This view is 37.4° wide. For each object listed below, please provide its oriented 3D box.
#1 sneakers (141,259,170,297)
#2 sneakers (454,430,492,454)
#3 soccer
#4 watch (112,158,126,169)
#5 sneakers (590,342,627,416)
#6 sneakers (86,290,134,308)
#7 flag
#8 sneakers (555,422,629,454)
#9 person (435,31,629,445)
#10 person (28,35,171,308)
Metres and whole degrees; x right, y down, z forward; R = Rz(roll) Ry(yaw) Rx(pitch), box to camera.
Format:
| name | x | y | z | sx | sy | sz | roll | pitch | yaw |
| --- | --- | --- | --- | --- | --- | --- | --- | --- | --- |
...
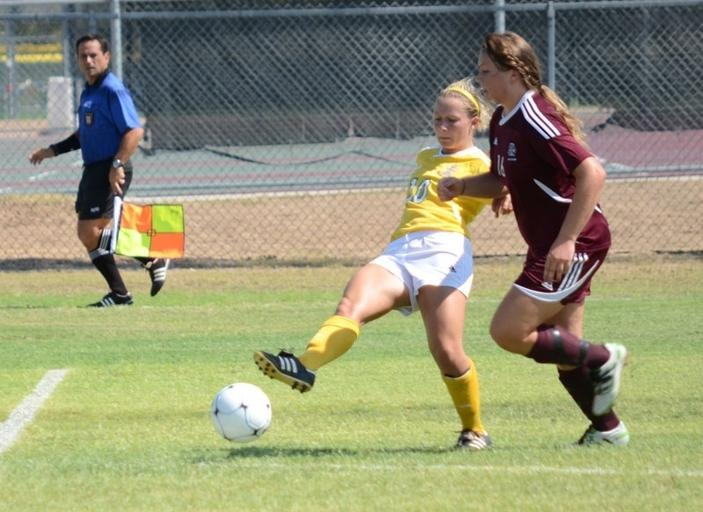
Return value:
| name | x | y | z | sx | sy | sz | roll | pitch | yaw |
| --- | --- | --- | --- | --- | --- | --- | --- | --- | --- |
| sneakers | -1.683 | 0.139 | 9.062 | 0.202 | 0.387 | 0.143 | -2 | 10 | -23 |
| sneakers | 0.698 | 1.044 | 5.940 | 0.236 | 0.085 | 0.089 | 0 | 2 | -21 |
| soccer | -0.630 | 0.889 | 5.950 | 0.323 | 0.311 | 0.184 | -7 | 16 | -20 |
| watch | -1.949 | -0.769 | 8.686 | 0.098 | 0.057 | 0.098 | -30 | -8 | 22 |
| sneakers | 1.463 | 0.688 | 6.022 | 0.204 | 0.417 | 0.155 | 10 | 0 | -31 |
| sneakers | -2.028 | 0.351 | 8.747 | 0.380 | 0.128 | 0.130 | 2 | 0 | -17 |
| flag | -1.789 | -0.233 | 9.110 | 0.771 | 0.521 | 0.082 | 2 | -14 | -28 |
| sneakers | 1.395 | 1.038 | 5.982 | 0.379 | 0.143 | 0.125 | -1 | 0 | 0 |
| person | 1.099 | -0.109 | 6.002 | 1.021 | 2.271 | 0.740 | 0 | 15 | 4 |
| person | -2.135 | -0.743 | 8.975 | 0.714 | 2.250 | 1.080 | -11 | 18 | -31 |
